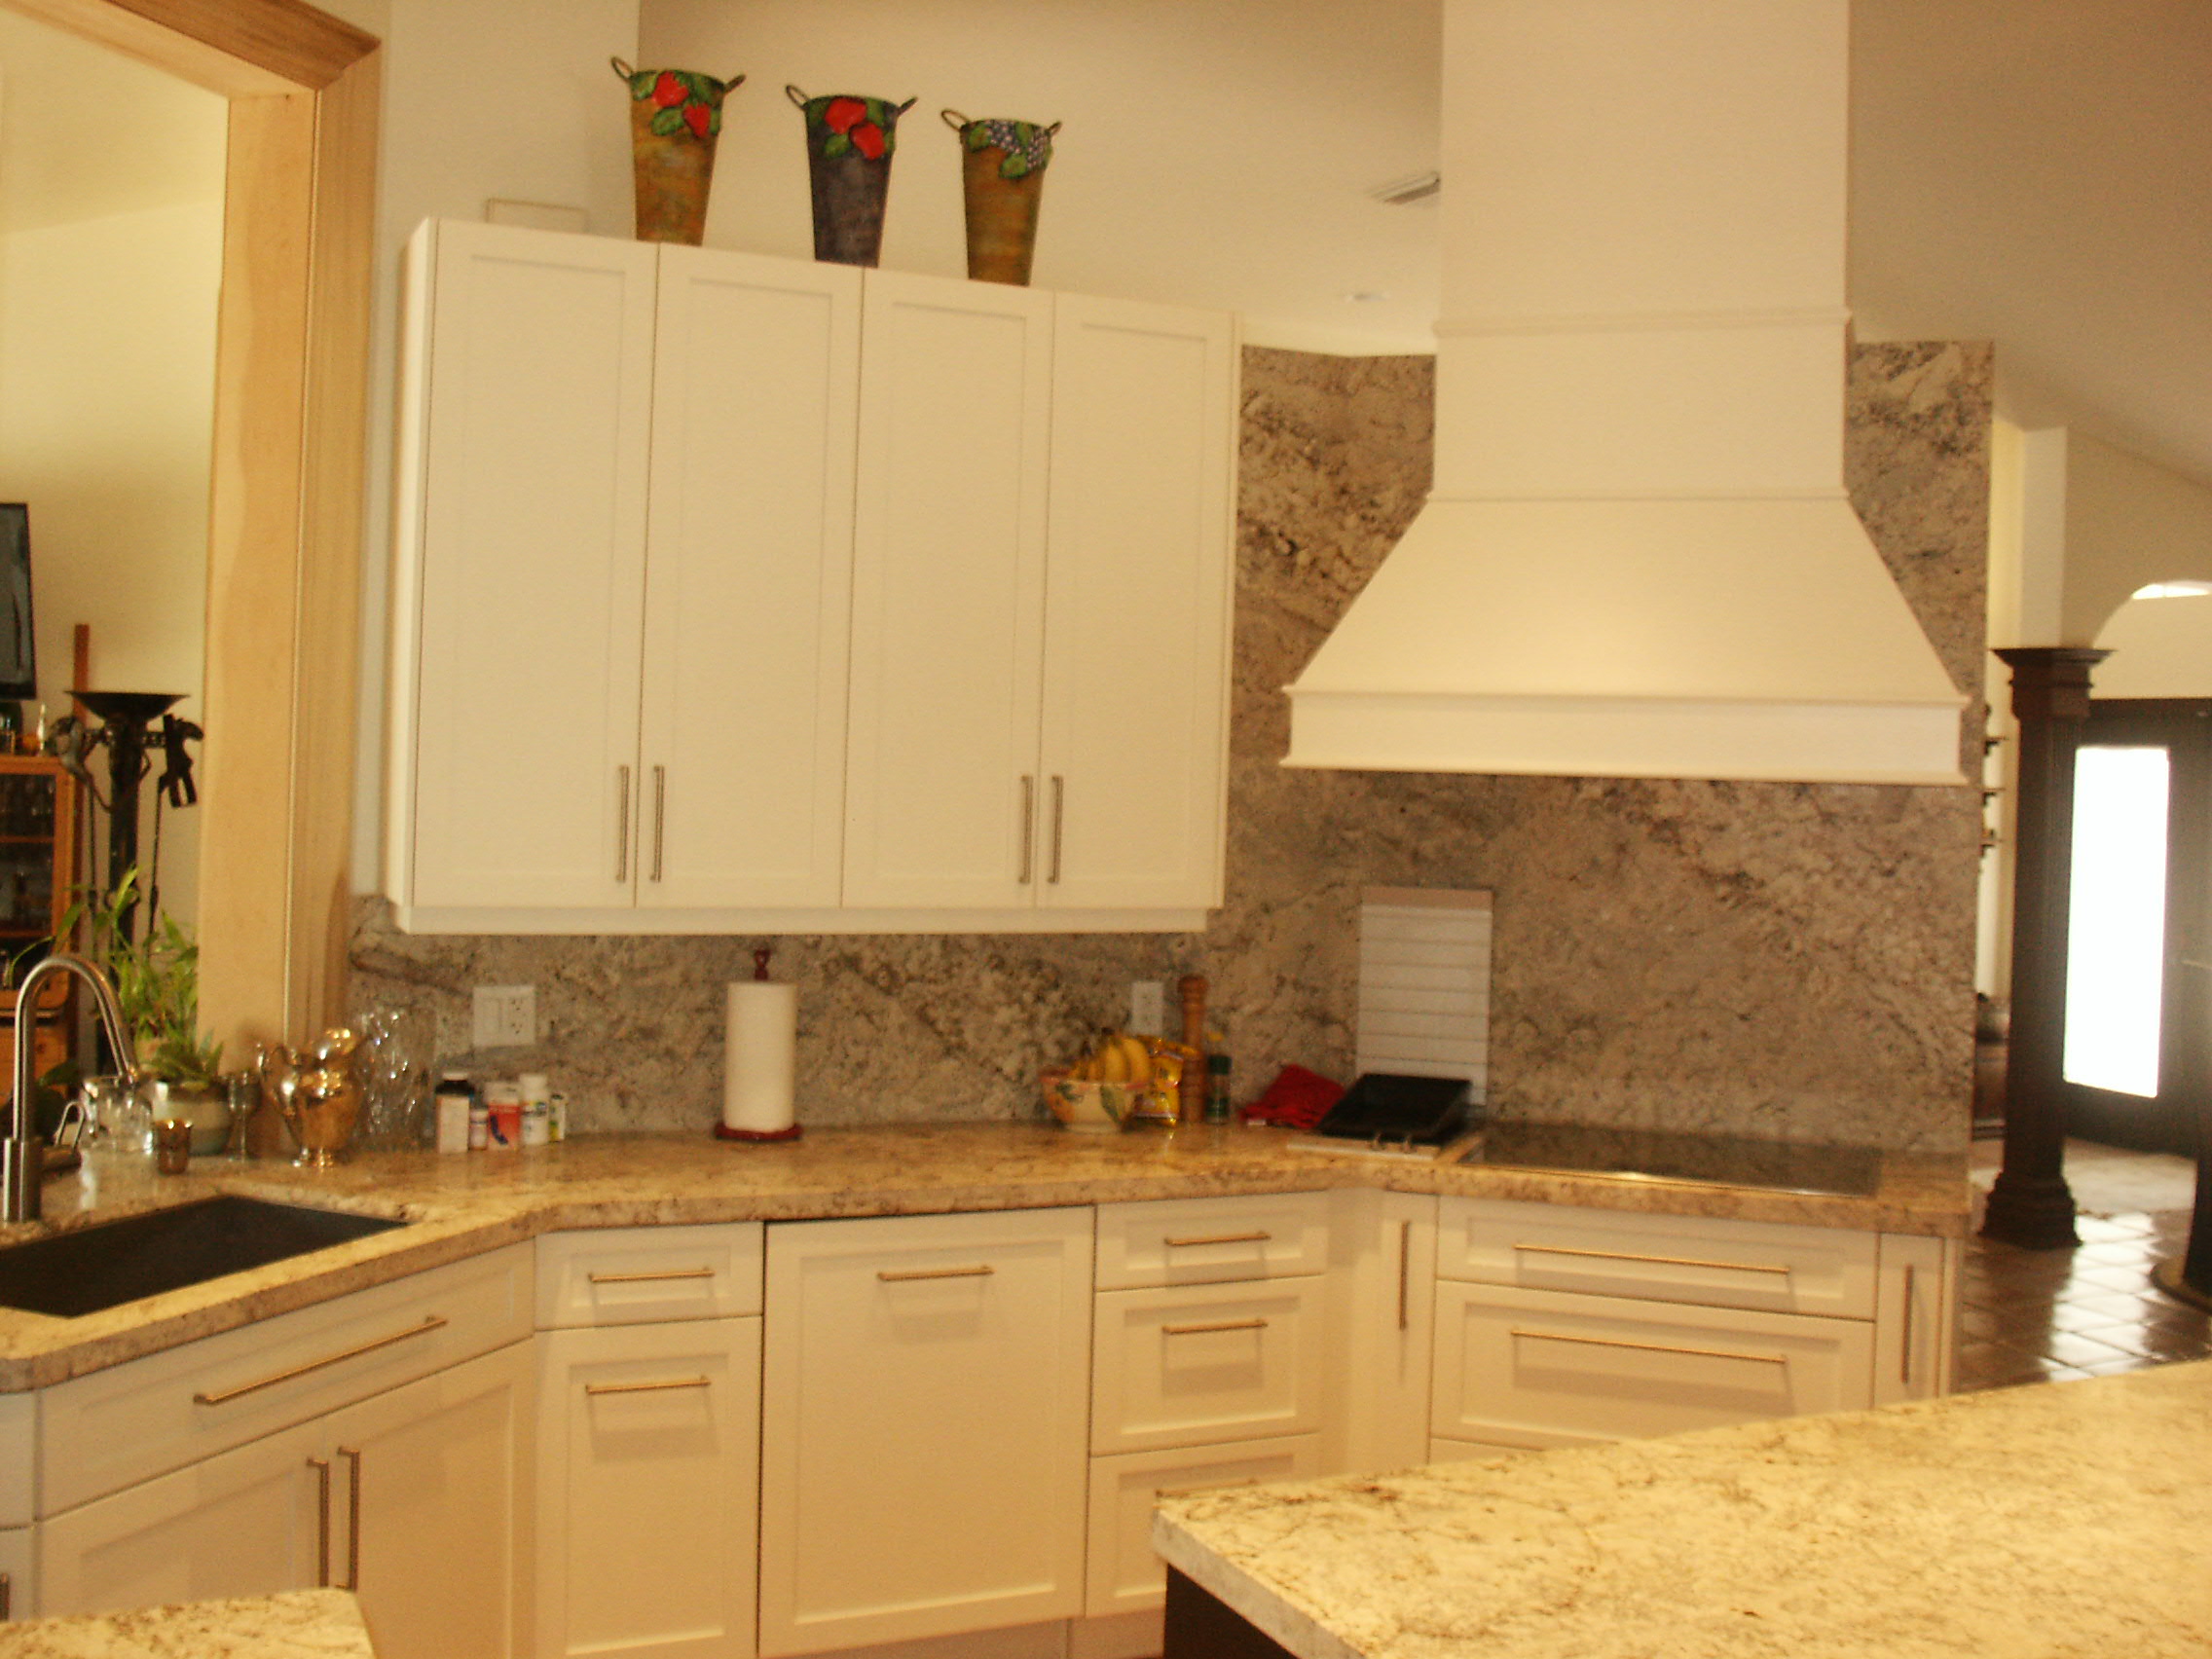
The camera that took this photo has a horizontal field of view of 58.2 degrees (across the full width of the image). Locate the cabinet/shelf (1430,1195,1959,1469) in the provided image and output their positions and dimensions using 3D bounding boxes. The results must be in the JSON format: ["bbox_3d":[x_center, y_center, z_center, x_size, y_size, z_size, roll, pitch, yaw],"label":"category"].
[{"bbox_3d":[1.270,0.891,4.408,1.011,0.824,0.572,2,6,9],"label":"cabinet/shelf"}]

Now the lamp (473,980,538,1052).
[{"bbox_3d":[-1.304,0.403,4.305,0.154,0.126,0.038,0,4,-22],"label":"lamp"}]

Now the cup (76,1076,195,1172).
[{"bbox_3d":[-1.923,0.581,3.938,0.183,0.236,0.154,5,2,-34],"label":"cup"}]

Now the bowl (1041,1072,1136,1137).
[{"bbox_3d":[-0.051,0.630,4.598,0.223,0.133,0.101,0,1,32],"label":"bowl"}]

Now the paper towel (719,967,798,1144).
[{"bbox_3d":[-0.781,0.497,4.405,0.193,0.354,0.170,0,1,2],"label":"paper towel"}]

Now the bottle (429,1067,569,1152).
[{"bbox_3d":[-1.288,0.593,4.191,0.145,0.091,0.231,0,-1,37],"label":"bottle"}]
